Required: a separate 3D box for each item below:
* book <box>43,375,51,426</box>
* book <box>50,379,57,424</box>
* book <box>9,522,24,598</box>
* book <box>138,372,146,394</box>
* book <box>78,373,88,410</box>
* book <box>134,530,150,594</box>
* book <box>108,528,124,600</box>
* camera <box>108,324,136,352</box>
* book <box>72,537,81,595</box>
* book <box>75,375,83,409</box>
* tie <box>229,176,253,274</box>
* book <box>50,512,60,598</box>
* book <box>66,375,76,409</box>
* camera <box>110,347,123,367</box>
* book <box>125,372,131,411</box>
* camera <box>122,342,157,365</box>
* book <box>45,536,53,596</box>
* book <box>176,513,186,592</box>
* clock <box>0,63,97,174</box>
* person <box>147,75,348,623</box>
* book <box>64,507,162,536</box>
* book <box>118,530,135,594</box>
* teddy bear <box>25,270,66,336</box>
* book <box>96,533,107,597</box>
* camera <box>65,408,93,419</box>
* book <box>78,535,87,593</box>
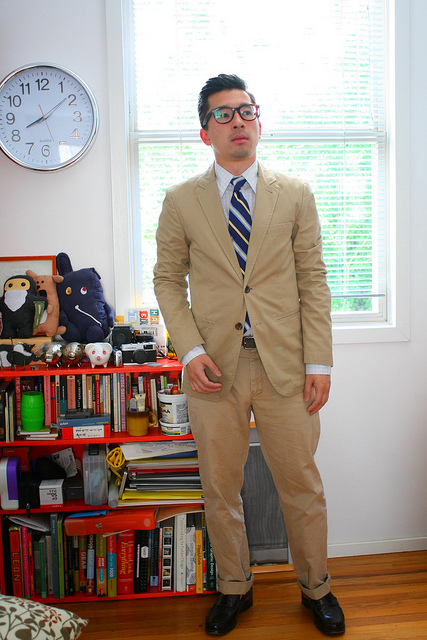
[{"bbox_3d":[-0.600,0.289,1.976,0.031,0.178,0.018,4,3,-13],"label":"book"},{"bbox_3d":[-0.581,0.294,1.985,0.032,0.158,0.017,3,3,-15],"label":"book"},{"bbox_3d":[-0.700,0.845,1.931,0.079,0.255,0.035,6,4,31],"label":"book"},{"bbox_3d":[-0.267,0.235,2.028,0.031,0.089,0.083,2,-2,-6],"label":"book"},{"bbox_3d":[-0.475,0.259,1.986,0.041,0.129,0.014,4,3,-10],"label":"book"},{"bbox_3d":[-0.257,0.861,1.960,0.045,0.189,0.138,-4,-11,-6],"label":"book"},{"bbox_3d":[-0.359,0.874,1.950,0.047,0.245,0.013,4,3,-10],"label":"book"},{"bbox_3d":[-0.331,0.072,2.011,0.075,0.104,0.088,0,5,8],"label":"camera"},{"bbox_3d":[-0.489,0.871,1.954,0.039,0.208,0.013,3,3,-16],"label":"book"},{"bbox_3d":[-0.491,0.254,1.988,0.040,0.111,0.117,0,-3,-7],"label":"book"},{"bbox_3d":[0.077,-0.283,1.637,0.064,0.283,0.064,5,3,8],"label":"tie"},{"bbox_3d":[-0.564,0.833,1.942,0.039,0.288,0.052,3,4,-28],"label":"book"},{"bbox_3d":[-0.518,0.255,1.985,0.042,0.117,0.121,0,-2,-9],"label":"book"},{"bbox_3d":[-0.353,0.134,1.980,0.035,0.060,0.104,3,4,-22],"label":"camera"},{"bbox_3d":[-0.313,0.259,2.002,0.028,0.131,0.029,2,4,-30],"label":"book"},{"bbox_3d":[-0.276,0.120,1.960,0.097,0.081,0.145,2,4,-36],"label":"camera"},{"bbox_3d":[-0.584,0.866,1.940,0.037,0.216,0.015,3,3,-16],"label":"book"},{"bbox_3d":[-0.115,0.833,1.963,0.048,0.280,0.011,4,3,-2],"label":"book"},{"bbox_3d":[-0.650,-0.805,2.139,0.409,0.430,0.036,0,0,-3],"label":"clock"},{"bbox_3d":[0.088,0.119,1.716,0.627,1.683,0.427,0,5,16],"label":"person"},{"bbox_3d":[-0.359,0.700,1.913,0.309,0.090,0.071,4,3,-2],"label":"book"},{"bbox_3d":[-0.314,0.863,1.958,0.069,0.235,0.022,4,3,-6],"label":"book"},{"bbox_3d":[-0.631,-0.057,2.092,0.117,0.227,0.104,3,4,-29],"label":"teddy bear"},{"bbox_3d":[-0.399,0.871,1.947,0.052,0.224,0.009,4,3,-2],"label":"book"},{"bbox_3d":[-0.481,0.332,1.955,0.095,0.025,0.079,4,3,-8],"label":"camera"},{"bbox_3d":[-0.468,0.868,1.953,0.040,0.216,0.015,4,3,0],"label":"book"}]
